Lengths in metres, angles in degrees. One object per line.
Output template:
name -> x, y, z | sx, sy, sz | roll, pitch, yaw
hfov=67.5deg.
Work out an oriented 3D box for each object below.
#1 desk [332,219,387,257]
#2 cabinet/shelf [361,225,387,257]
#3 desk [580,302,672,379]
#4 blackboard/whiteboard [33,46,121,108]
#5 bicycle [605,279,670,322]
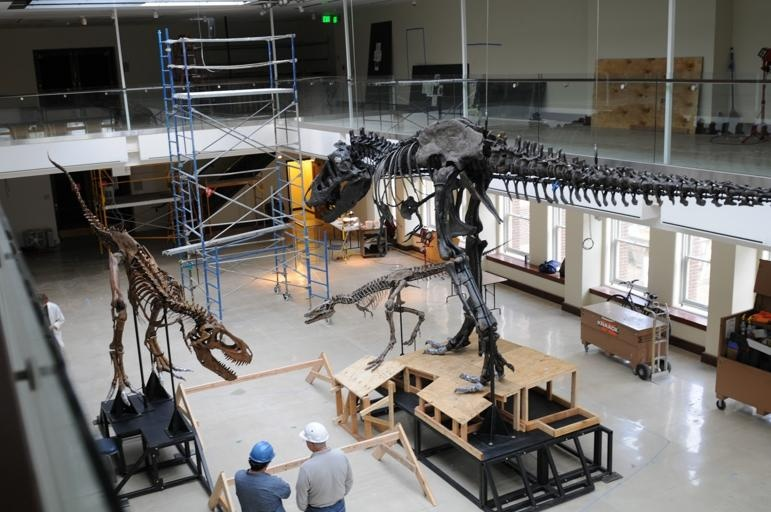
desk -> -0.830, -0.644, 18.452 | 1.569, 1.263, 2.540 | -8, 5, -6
cabinet/shelf -> -0.526, -0.397, 17.498 | 0.908, 1.163, 0.933 | -1, 5, -13
desk -> 4.691, 1.461, 11.255 | 2.104, 1.091, 1.555 | 5, 12, 8
blackboard/whiteboard -> -10.721, -6.090, 19.911 | 3.318, 2.194, 0.314 | 0, 7, 10
bicycle -> 5.147, 0.855, 11.555 | 0.562, 0.622, 1.087 | -10, 22, -26
